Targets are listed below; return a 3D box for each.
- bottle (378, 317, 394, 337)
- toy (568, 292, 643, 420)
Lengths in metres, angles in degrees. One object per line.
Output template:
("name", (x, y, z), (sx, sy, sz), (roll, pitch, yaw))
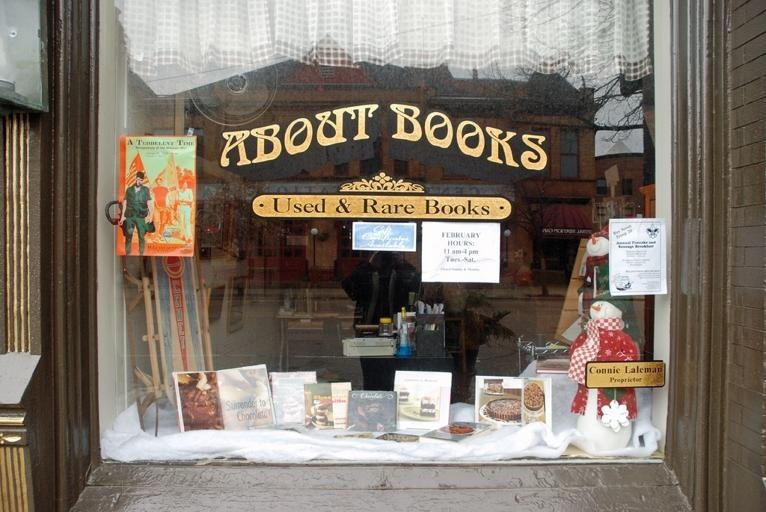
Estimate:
("bottle", (0.028, 0.546, 6.671), (0.123, 0.148, 0.127), (0, 0, 5))
("toy", (1.637, 0.745, 6.429), (0.501, 0.849, 0.230), (0, 2, 16))
